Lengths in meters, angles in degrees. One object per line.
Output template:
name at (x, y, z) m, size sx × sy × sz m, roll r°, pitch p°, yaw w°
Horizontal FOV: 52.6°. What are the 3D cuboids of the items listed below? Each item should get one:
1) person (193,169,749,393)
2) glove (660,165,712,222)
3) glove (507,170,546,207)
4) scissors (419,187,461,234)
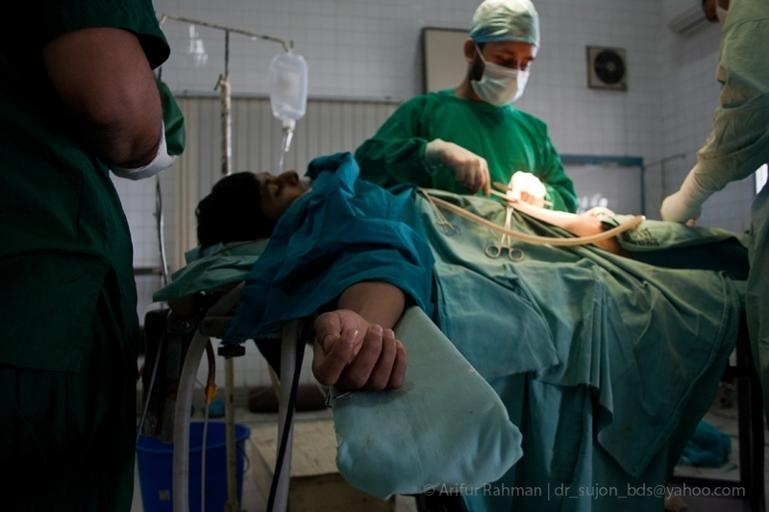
person at (-0.009, 0.024, 2.610) m, size 1.480 × 0.665 × 1.207 m, roll 1°, pitch -1°, yaw 24°
glove at (1.076, -0.210, 2.773) m, size 0.073 × 0.216 × 0.119 m, roll 2°, pitch 49°, yaw 13°
glove at (0.562, -0.271, 3.009) m, size 0.112 × 0.062 × 0.165 m, roll 17°, pitch 30°, yaw -9°
scissors at (0.197, -0.155, 2.752) m, size 0.067 × 0.018 × 0.194 m, roll -15°, pitch 50°, yaw -23°
